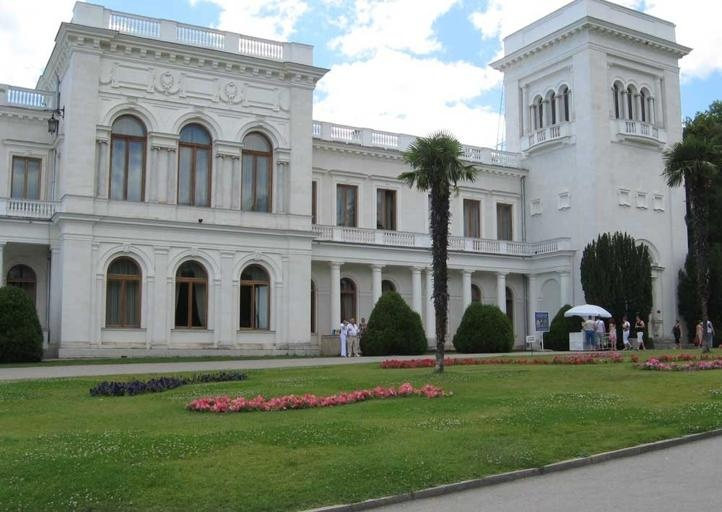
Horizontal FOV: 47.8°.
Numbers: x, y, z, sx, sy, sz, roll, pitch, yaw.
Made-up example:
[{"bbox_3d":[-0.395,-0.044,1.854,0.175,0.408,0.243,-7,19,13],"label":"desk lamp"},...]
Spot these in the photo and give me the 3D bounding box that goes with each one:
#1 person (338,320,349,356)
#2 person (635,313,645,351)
[{"bbox_3d":[-0.645,4.061,39.589,0.441,1.570,1.461,1,3,-1],"label":"person"},{"bbox_3d":[16.393,4.233,45.128,0.621,1.780,1.481,2,3,20],"label":"person"}]
